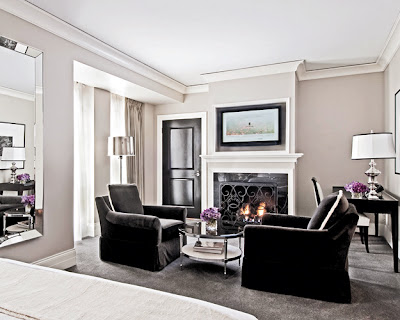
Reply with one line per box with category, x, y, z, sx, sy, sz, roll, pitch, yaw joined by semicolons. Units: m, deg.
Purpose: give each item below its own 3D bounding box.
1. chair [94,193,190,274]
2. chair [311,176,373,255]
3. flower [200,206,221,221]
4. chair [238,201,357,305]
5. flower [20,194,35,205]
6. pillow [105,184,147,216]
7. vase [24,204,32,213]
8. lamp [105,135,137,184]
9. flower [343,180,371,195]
chair;-0.763;0.874;3.995;0.951;0.815;0.849;2;-1;23
chair;2.010;0.754;4.369;0.698;1.115;0.644;-3;1;21
flower;0.131;0.641;3.654;0.177;0.149;0.181;-9;-9;35
chair;1.090;0.816;3.264;0.986;0.886;0.960;1;-4;24
flower;-1.835;0.423;3.236;0.099;0.053;0.081;8;7;36
pillow;-0.995;0.496;4.023;0.118;0.411;0.444;-26;-26;35
vase;-1.843;0.520;3.235;0.067;0.075;0.067;4;-9;-11
lamp;-1.358;0.005;5.234;0.445;0.839;0.626;-2;5;-16
flower;2.139;0.377;4.143;0.252;0.175;0.255;0;0;32
